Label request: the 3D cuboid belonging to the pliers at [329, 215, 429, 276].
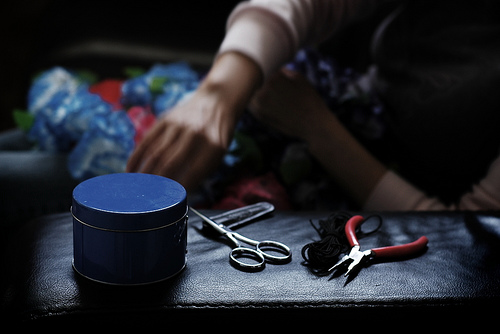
[{"bbox_3d":[0.204,0.132,0.763,0.133,0.028,0.176,6,24,17],"label":"pliers"}]
